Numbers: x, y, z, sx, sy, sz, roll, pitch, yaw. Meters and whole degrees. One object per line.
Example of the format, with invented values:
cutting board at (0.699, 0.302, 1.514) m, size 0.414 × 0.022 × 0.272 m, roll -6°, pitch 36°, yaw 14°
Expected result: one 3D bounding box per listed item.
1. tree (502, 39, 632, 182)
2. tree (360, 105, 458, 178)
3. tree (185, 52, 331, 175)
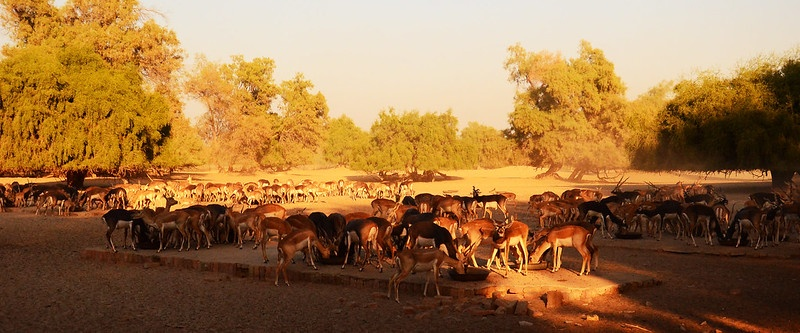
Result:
tree at (27.943, -9.205, 99.381) m, size 16.845 × 22.413 × 8.686 m, roll 0°, pitch -5°, yaw 16°
tree at (2.055, -3.758, 100.668) m, size 13.269 × 9.244 × 12.062 m, roll 1°, pitch 0°, yaw -2°
tree at (-25.325, -9.347, 108.505) m, size 21.408 × 20.380 × 11.331 m, roll 4°, pitch -5°, yaw -38°
